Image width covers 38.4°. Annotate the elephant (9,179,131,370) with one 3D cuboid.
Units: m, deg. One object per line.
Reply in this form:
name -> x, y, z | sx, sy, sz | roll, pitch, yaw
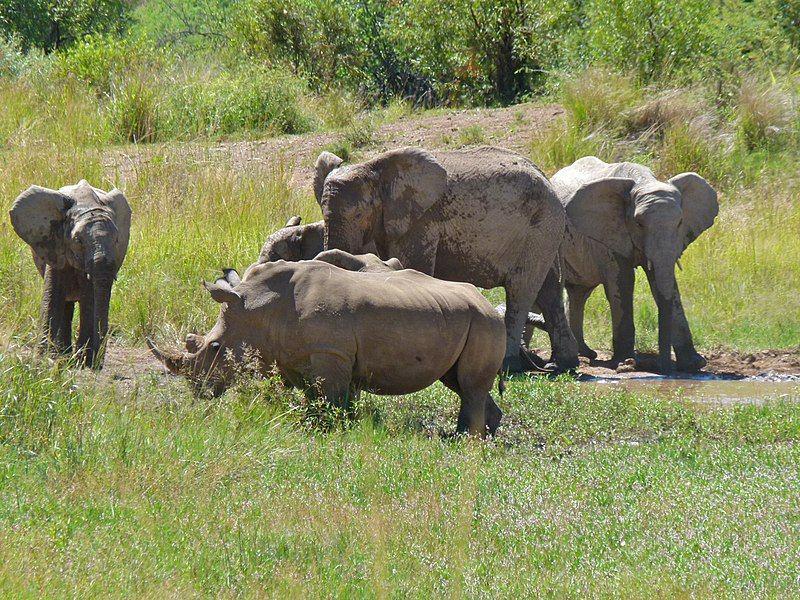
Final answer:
elephant -> -2.842, -0.227, 9.883 | 0.996, 1.455, 0.979 | 5, 11, 11
